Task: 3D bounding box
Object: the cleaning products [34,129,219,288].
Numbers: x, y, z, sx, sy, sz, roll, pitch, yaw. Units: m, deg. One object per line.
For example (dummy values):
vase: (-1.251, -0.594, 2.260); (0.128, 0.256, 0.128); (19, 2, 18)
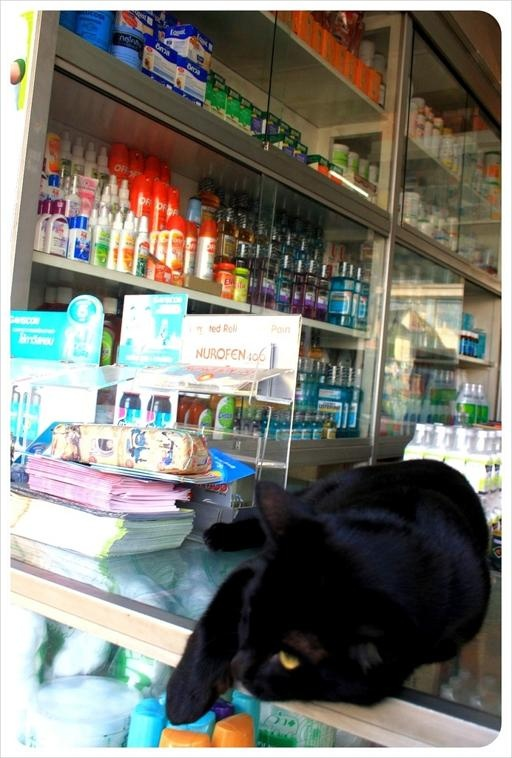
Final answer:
cleaning products: (-0.432, -0.553, 1.747); (0.490, 0.500, 0.155); (10, -13, -43)
